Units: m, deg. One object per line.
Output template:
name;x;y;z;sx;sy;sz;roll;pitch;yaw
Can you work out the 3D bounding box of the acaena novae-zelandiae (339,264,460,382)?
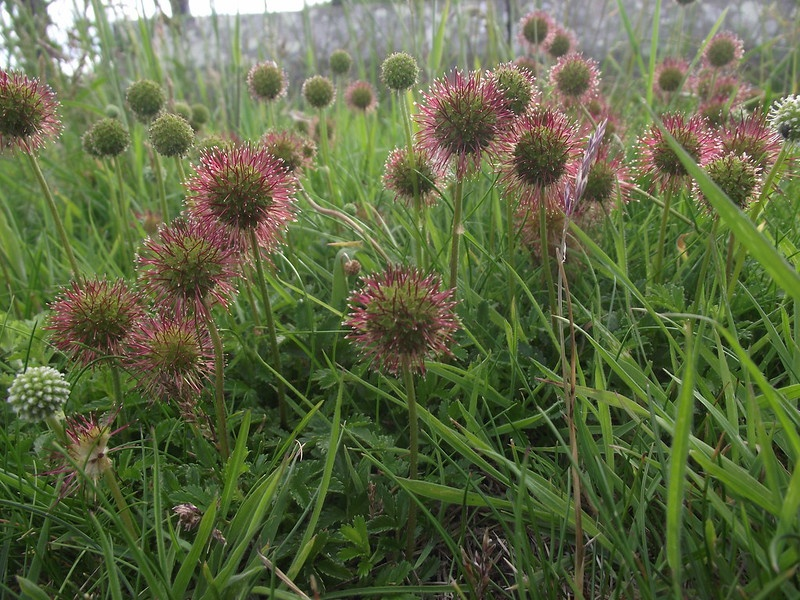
acaena novae-zelandiae;0.006;0.088;2.944;0.425;0.599;0.462;0;8;-35
